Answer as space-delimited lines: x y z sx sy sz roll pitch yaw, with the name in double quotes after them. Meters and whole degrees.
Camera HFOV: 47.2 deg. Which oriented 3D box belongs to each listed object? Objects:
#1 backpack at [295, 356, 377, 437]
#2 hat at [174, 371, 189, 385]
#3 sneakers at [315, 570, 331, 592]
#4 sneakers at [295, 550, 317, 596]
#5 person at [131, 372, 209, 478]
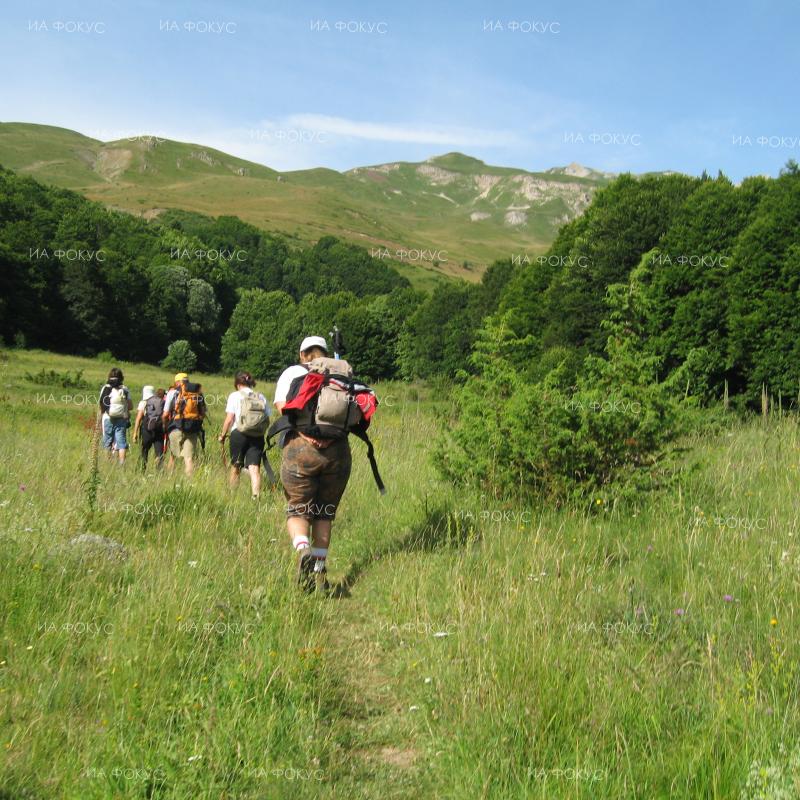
-0.559 0.025 7.132 0.436 0.678 0.578 15 -9 -17 "backpack"
-2.846 -0.280 11.826 0.149 0.188 0.144 3 -4 -12 "hat"
-0.593 1.391 6.958 0.103 0.263 0.056 -2 -6 -6 "sneakers"
-0.707 1.246 6.681 0.088 0.357 0.141 0 -8 -4 "sneakers"
-3.007 0.312 11.997 0.675 1.338 1.849 -6 10 -30 "person"
